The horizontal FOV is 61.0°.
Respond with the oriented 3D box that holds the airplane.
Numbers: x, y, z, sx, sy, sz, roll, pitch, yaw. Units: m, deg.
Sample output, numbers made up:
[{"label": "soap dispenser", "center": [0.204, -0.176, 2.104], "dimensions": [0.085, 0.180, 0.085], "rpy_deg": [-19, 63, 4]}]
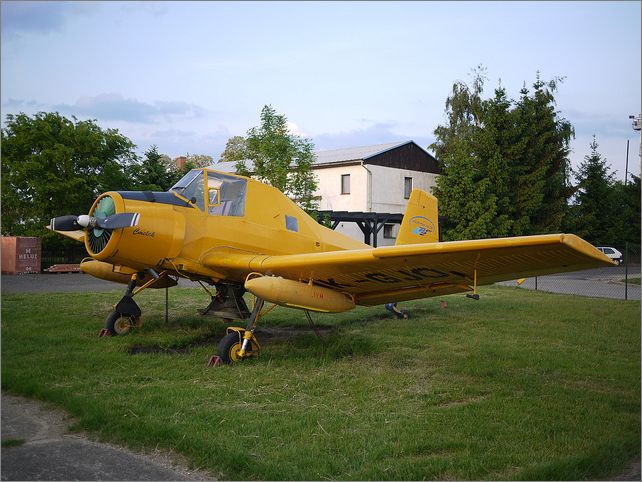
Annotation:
[{"label": "airplane", "center": [0.087, 0.232, 9.261], "dimensions": [8.316, 2.790, 4.500], "rpy_deg": [4, 7, 21]}]
